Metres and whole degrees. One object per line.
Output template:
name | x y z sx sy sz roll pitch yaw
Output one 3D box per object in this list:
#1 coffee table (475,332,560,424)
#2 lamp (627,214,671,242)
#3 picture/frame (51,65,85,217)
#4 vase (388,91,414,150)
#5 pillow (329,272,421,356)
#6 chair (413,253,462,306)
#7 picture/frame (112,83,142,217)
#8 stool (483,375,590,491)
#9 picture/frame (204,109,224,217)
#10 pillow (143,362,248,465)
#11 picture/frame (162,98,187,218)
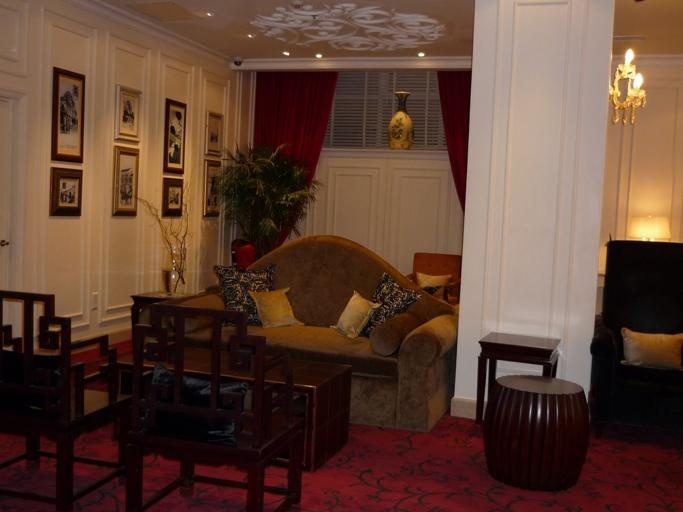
coffee table | 1.406 0.799 4.441 0.619 0.762 0.730 2 3 17
lamp | 3.906 -0.279 7.020 0.444 0.489 0.453 0 0 5
picture/frame | -2.825 -1.146 5.670 0.080 1.484 0.400 3 4 16
vase | 0.888 -1.987 8.057 0.376 0.839 0.740 3 4 6
pillow | 0.292 0.516 4.741 0.180 0.620 0.559 18 9 -42
chair | 1.181 0.273 7.246 0.600 0.878 0.643 0 -8 17
picture/frame | -2.494 -1.201 6.398 0.092 1.460 0.428 3 4 14
stool | 1.229 1.082 3.551 0.592 0.560 0.620 1 7 6
picture/frame | -1.826 -1.294 7.886 0.098 1.467 0.429 3 4 15
pillow | -0.738 0.767 2.790 0.401 0.413 0.122 5 15 9
picture/frame | -2.162 -1.244 7.142 0.103 1.489 0.427 3 4 12
